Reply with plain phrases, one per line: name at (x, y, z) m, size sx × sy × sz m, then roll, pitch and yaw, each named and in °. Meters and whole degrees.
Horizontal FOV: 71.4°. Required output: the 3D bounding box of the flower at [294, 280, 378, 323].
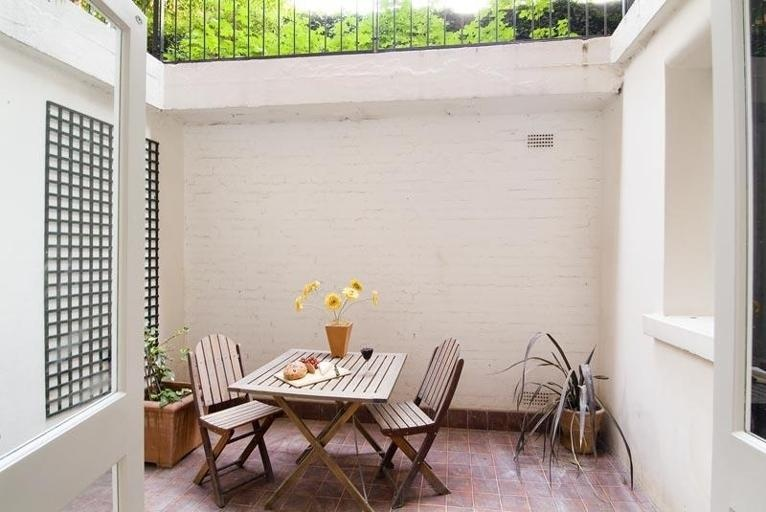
flower at (-0.409, 0.398, 4.683) m, size 0.688 × 0.439 × 0.470 m, roll 5°, pitch 2°, yaw 24°

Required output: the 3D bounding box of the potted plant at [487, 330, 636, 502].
potted plant at (1.487, 1.134, 4.366) m, size 0.883 × 1.077 × 1.165 m, roll 0°, pitch 9°, yaw 1°

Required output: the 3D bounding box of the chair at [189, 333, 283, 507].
chair at (-1.138, 1.152, 4.111) m, size 0.721 × 1.182 × 0.729 m, roll 0°, pitch 0°, yaw 36°

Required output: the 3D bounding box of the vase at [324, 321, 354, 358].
vase at (-0.340, 0.683, 4.411) m, size 0.257 × 0.320 × 0.269 m, roll 0°, pitch -1°, yaw 4°

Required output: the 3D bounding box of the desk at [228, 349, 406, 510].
desk at (-0.455, 1.120, 3.903) m, size 1.007 × 0.837 × 1.105 m, roll 0°, pitch 2°, yaw 11°
